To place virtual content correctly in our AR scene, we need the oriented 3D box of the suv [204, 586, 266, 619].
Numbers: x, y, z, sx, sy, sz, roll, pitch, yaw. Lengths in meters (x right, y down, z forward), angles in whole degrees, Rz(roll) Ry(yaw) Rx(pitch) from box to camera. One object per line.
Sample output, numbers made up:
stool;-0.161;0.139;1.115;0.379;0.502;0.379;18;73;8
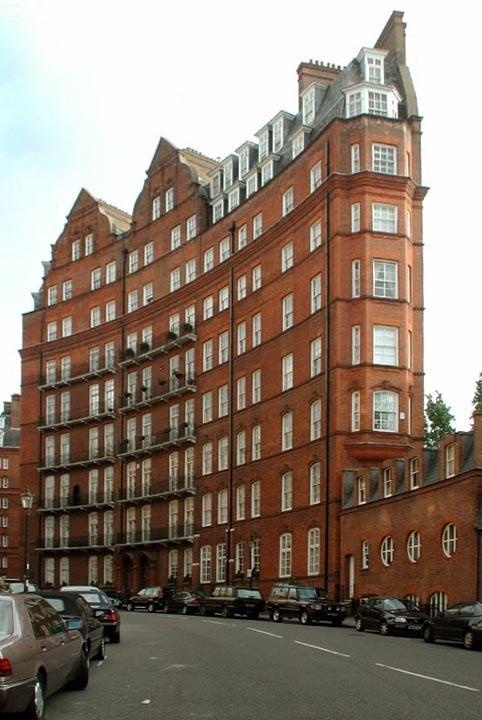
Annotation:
suv;-0.236;9.110;45.183;1.086;0.891;2.302;8;-10;-25
